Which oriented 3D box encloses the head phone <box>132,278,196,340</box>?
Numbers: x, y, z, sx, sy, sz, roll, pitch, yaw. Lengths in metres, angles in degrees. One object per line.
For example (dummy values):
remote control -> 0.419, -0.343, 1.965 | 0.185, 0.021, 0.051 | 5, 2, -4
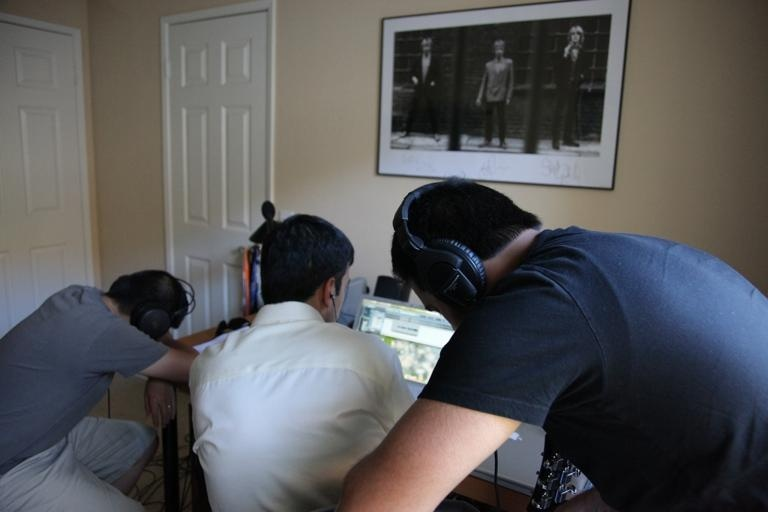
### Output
head phone -> -0.982, 0.188, 2.375 | 0.296, 0.285, 0.297 | 7, 15, -16
